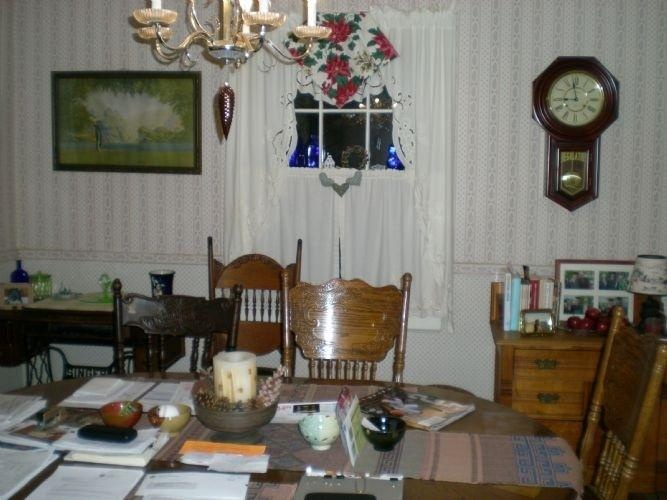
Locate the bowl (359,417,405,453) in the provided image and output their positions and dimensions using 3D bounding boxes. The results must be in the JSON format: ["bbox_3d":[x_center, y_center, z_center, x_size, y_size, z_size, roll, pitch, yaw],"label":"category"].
[{"bbox_3d":[0.191,0.656,2.131,0.107,0.072,0.115,-2,11,0],"label":"bowl"}]

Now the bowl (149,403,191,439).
[{"bbox_3d":[-0.602,0.614,2.163,0.104,0.064,0.113,0,-2,0],"label":"bowl"}]

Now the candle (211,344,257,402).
[{"bbox_3d":[-0.355,0.430,2.113,0.142,0.193,0.160,0,8,-7],"label":"candle"}]

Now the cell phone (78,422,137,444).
[{"bbox_3d":[-0.806,0.651,2.086,0.149,0.043,0.086,3,0,6],"label":"cell phone"}]

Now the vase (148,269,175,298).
[{"bbox_3d":[-1.164,0.224,4.028,0.142,0.238,0.148,0,8,-15],"label":"vase"}]

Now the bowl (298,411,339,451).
[{"bbox_3d":[-0.041,0.661,2.168,0.145,0.131,0.163,9,9,37],"label":"bowl"}]

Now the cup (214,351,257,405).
[{"bbox_3d":[-0.353,0.445,2.132,0.134,0.179,0.126,1,9,0],"label":"cup"}]

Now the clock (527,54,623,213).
[{"bbox_3d":[1.618,-0.782,3.938,0.544,1.003,0.104,0,5,1],"label":"clock"}]

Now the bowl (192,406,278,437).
[{"bbox_3d":[-0.368,0.586,2.208,0.282,0.101,0.268,3,5,0],"label":"bowl"}]

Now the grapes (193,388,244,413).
[{"bbox_3d":[-0.419,0.554,2.118,0.111,0.040,0.084,15,-8,-38],"label":"grapes"}]

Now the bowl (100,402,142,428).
[{"bbox_3d":[-0.778,0.595,2.145,0.095,0.067,0.104,3,-2,0],"label":"bowl"}]
